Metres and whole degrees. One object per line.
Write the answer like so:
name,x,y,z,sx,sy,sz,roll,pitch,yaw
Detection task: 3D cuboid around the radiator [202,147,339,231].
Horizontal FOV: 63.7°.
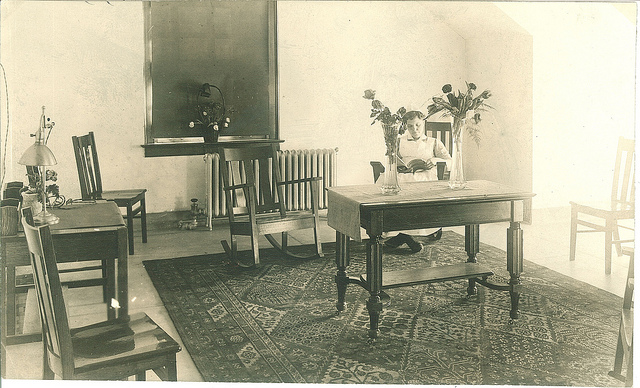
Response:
radiator,-0.668,-0.050,6.139,1.292,0.628,0.126,-3,2,-20

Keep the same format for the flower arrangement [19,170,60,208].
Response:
flower arrangement,-2.289,-0.074,4.313,0.309,0.185,0.288,13,31,20

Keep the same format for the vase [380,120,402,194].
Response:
vase,0.631,-0.329,4.604,0.229,0.640,0.290,-4,7,4

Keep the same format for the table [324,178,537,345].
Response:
table,1.007,0.534,4.823,1.830,1.002,0.950,-2,4,-24

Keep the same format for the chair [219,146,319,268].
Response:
chair,-0.586,0.069,6.161,1.068,1.287,1.653,-5,6,-4

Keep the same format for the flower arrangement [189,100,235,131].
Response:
flower arrangement,-1.420,-1.041,6.769,0.611,0.399,0.223,-5,7,-10

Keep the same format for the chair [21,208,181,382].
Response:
chair,-1.482,0.725,3.489,0.894,1.191,0.513,-6,7,-18

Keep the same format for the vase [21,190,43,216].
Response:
vase,-2.359,0.073,4.216,0.216,0.239,0.200,-1,7,-32

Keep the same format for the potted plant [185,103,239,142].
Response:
potted plant,-1.420,-0.948,6.791,0.704,0.515,0.246,-5,7,-12

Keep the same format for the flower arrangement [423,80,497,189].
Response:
flower arrangement,1.301,-0.520,4.738,0.762,0.884,0.707,4,-6,-13

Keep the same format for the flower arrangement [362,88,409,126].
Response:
flower arrangement,0.605,-0.789,4.668,0.324,0.329,0.554,-3,5,9

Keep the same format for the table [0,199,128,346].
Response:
table,-1.974,0.602,3.937,1.220,0.958,0.790,-4,13,-25
